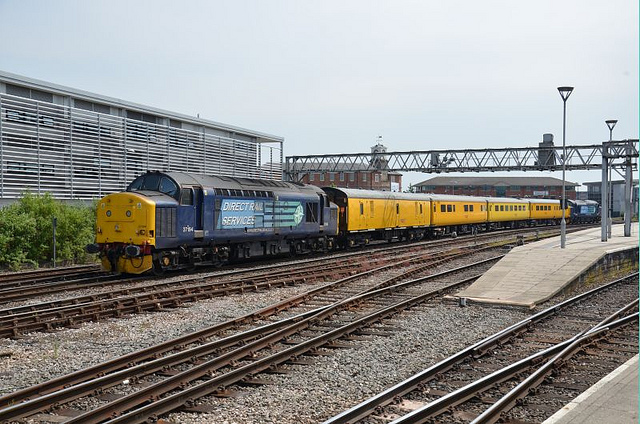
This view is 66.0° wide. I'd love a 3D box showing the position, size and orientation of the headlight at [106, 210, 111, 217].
[{"bbox_3d":[-8.365,0.071,19.484,0.257,0.237,0.053,1,1,11],"label":"headlight"}]
